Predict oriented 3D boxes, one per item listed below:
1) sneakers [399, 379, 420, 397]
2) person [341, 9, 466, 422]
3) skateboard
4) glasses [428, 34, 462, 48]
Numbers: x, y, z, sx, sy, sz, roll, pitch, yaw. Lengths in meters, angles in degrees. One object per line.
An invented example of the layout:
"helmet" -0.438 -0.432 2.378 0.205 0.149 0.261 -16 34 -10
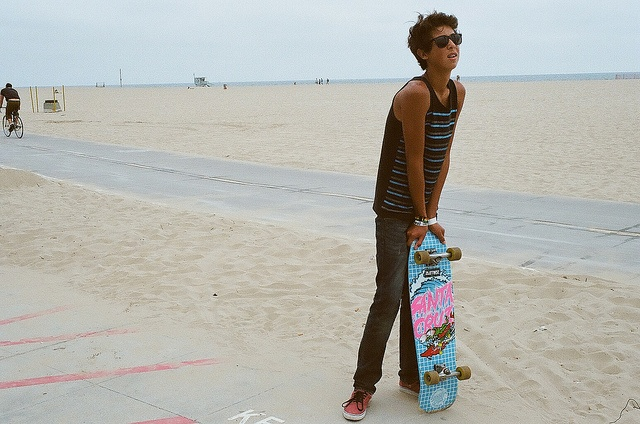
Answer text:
"sneakers" 0.902 1.743 6.185 0.228 0.098 0.090 8 7 23
"person" 0.818 0.043 5.903 1.088 3.791 0.482 -3 12 -26
"skateboard" 1.107 1.072 5.865 0.506 1.826 0.267 0 -6 -20
"glasses" 1.173 -1.574 5.728 0.268 0.141 0.084 -2 11 -22
